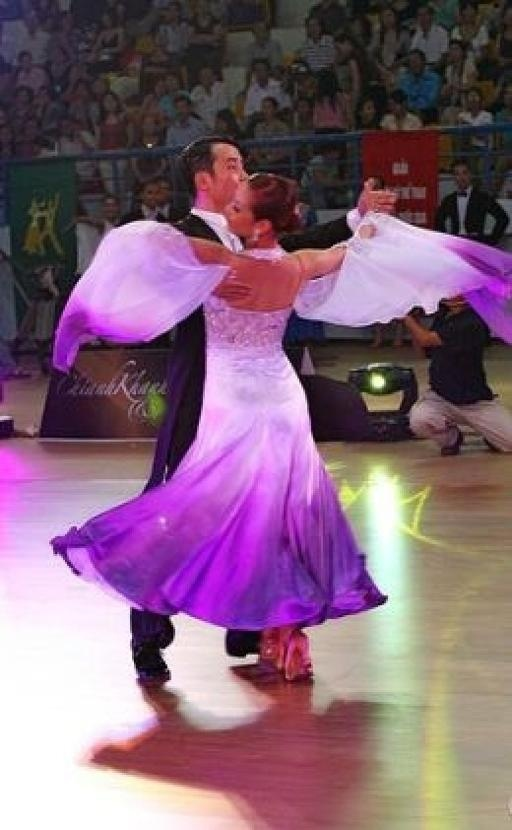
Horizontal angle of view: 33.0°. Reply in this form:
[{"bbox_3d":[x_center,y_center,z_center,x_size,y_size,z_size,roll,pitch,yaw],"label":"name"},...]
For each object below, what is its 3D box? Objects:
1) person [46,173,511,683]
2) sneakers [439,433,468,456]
[{"bbox_3d":[0.060,0.057,2.257,1.148,1.329,0.433,-2,3,-18],"label":"person"},{"bbox_3d":[1.321,0.205,5.900,0.200,0.157,0.140,-2,-9,-2],"label":"sneakers"}]
